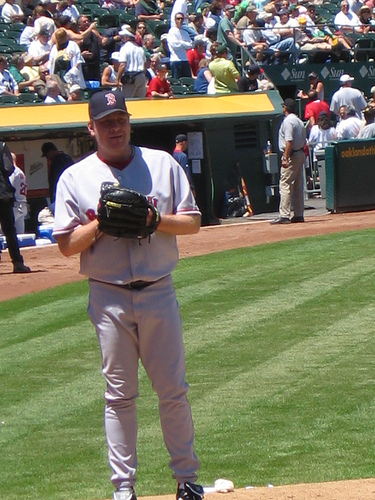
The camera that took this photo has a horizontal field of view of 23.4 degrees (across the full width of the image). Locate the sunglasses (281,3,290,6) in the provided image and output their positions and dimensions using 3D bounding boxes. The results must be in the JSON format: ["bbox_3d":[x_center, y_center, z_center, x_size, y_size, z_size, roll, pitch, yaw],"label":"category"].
[{"bbox_3d":[1.967,-4.939,18.208,0.140,0.030,0.133,0,-1,0],"label":"sunglasses"}]

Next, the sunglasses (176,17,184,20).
[{"bbox_3d":[-0.115,-4.131,16.138,0.119,0.046,0.067,-8,12,-22],"label":"sunglasses"}]

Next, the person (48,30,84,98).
[{"bbox_3d":[-1.934,-2.790,13.873,0.659,0.381,1.412,-6,-34,-12],"label":"person"}]

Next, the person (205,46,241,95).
[{"bbox_3d":[0.573,-2.950,14.857,0.519,0.754,0.664,-4,12,2],"label":"person"}]

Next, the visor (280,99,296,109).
[{"bbox_3d":[1.350,-1.946,12.068,0.120,0.076,0.149,-3,24,-23],"label":"visor"}]

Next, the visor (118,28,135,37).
[{"bbox_3d":[-0.945,-3.437,14.304,0.238,0.080,0.148,14,20,3],"label":"visor"}]

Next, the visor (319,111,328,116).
[{"bbox_3d":[2.352,-2.362,15.691,0.079,0.036,0.097,5,-7,-11],"label":"visor"}]

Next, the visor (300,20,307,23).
[{"bbox_3d":[2.329,-4.608,18.232,0.133,0.029,0.125,-3,4,5],"label":"visor"}]

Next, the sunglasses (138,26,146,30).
[{"bbox_3d":[-0.782,-3.932,15.994,0.130,0.048,0.102,-6,11,-8],"label":"sunglasses"}]

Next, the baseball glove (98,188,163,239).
[{"bbox_3d":[-0.248,-0.107,3.809,0.223,0.124,0.262,-10,-25,26],"label":"baseball glove"}]

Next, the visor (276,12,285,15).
[{"bbox_3d":[1.844,-4.705,17.998,0.045,0.060,0.253,-9,12,-19],"label":"visor"}]

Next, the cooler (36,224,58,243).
[{"bbox_3d":[-2.082,-0.244,13.464,0.190,0.257,0.567,-10,12,-22],"label":"cooler"}]

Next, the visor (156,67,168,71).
[{"bbox_3d":[-0.395,-2.863,14.323,0.144,0.052,0.087,-3,11,4],"label":"visor"}]

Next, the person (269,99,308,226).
[{"bbox_3d":[1.396,-1.146,12.178,0.496,1.733,0.754,-5,13,-2],"label":"person"}]

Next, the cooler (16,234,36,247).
[{"bbox_3d":[-2.254,-0.127,12.836,0.235,0.177,0.347,-6,11,-9],"label":"cooler"}]

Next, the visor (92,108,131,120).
[{"bbox_3d":[-0.312,-0.581,3.854,0.172,0.041,0.105,-8,12,-20],"label":"visor"}]

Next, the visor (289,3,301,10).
[{"bbox_3d":[2.144,-4.916,18.321,0.164,0.110,0.270,-2,11,12],"label":"visor"}]

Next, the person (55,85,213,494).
[{"bbox_3d":[-0.233,0.184,3.876,0.624,1.717,0.615,-5,13,1],"label":"person"}]
